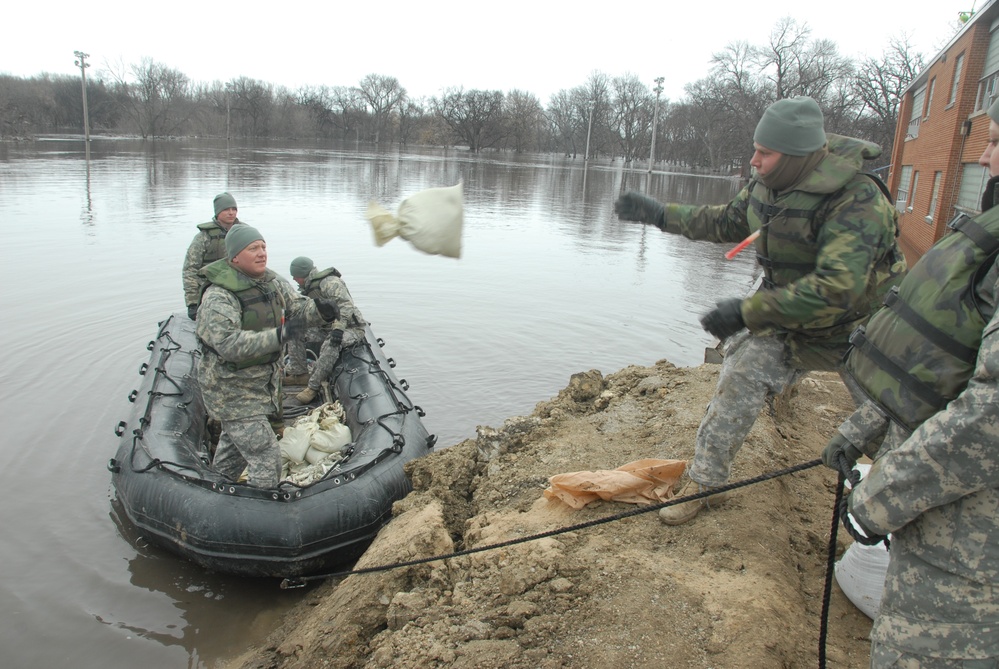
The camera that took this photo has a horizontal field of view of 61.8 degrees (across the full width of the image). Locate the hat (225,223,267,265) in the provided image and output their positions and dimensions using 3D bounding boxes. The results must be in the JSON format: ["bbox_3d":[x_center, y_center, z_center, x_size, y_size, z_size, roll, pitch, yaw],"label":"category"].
[{"bbox_3d":[-2.553,-0.907,8.213,0.428,0.375,0.392,-10,14,-20],"label":"hat"}]

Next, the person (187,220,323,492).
[{"bbox_3d":[-2.407,0.275,8.166,1.024,2.551,1.344,-5,19,-20],"label":"person"}]

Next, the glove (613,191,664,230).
[{"bbox_3d":[1.139,-1.013,6.742,0.347,0.289,0.164,18,4,18],"label":"glove"}]

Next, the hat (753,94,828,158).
[{"bbox_3d":[2.060,-1.500,5.918,0.426,0.303,0.435,-3,30,13],"label":"hat"}]

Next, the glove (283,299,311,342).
[{"bbox_3d":[-1.941,-0.157,7.939,0.119,0.368,0.293,13,8,-15],"label":"glove"}]

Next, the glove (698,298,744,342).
[{"bbox_3d":[1.529,-0.075,5.794,0.304,0.114,0.236,29,64,36],"label":"glove"}]
